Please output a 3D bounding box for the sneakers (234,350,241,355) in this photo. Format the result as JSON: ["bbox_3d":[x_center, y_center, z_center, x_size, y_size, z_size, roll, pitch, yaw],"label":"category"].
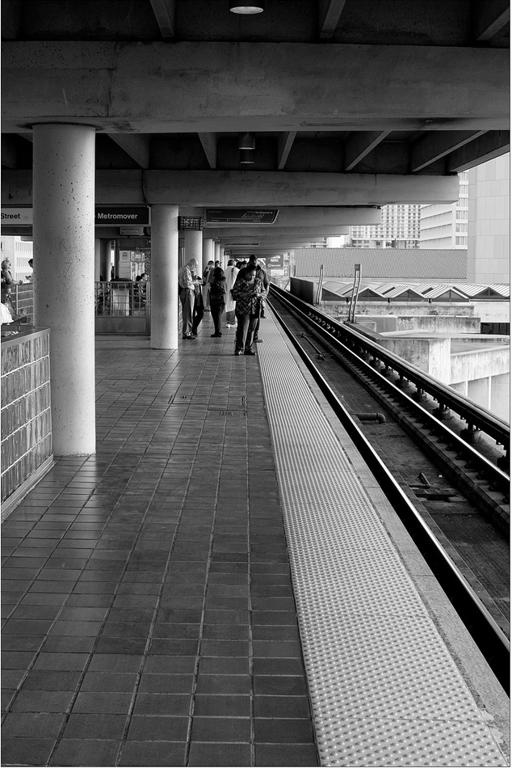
[{"bbox_3d":[-0.500,-0.842,15.065,0.150,0.191,0.104,4,-4,-8],"label":"sneakers"}]

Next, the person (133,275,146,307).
[{"bbox_3d":[-4.407,-3.418,21.479,0.386,1.085,0.787,0,2,-5],"label":"person"}]
